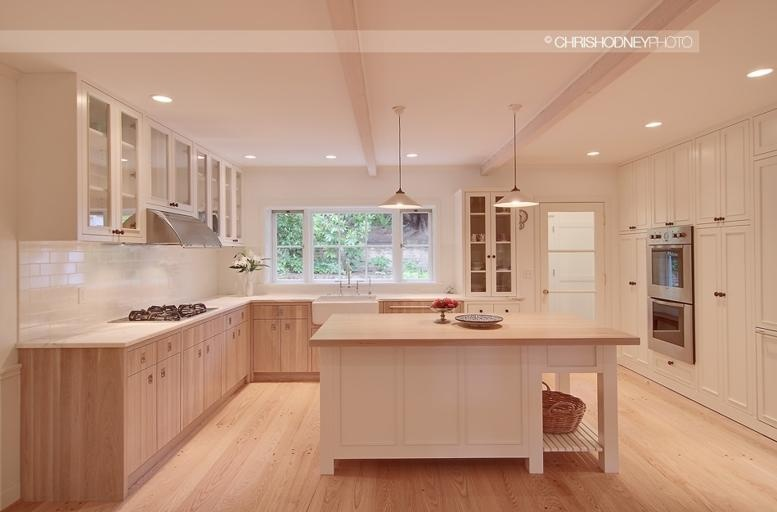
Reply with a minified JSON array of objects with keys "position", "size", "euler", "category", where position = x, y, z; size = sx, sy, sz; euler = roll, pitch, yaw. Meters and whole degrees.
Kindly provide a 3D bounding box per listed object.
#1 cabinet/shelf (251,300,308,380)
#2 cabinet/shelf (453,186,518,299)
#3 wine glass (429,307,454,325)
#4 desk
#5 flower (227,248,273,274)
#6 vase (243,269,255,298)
[{"position":[-1.256,1.039,6.760],"size":[0.848,0.921,0.591],"euler":[-3,-6,22],"category":"cabinet/shelf"},{"position":[1.271,-0.145,6.602],"size":[0.749,1.255,0.458],"euler":[0,-1,3],"category":"cabinet/shelf"},{"position":[0.522,0.568,5.088],"size":[0.192,0.117,0.173],"euler":[1,-7,-2],"category":"wine glass"},{"position":[0.807,1.426,5.110],"size":[2.669,1.047,1.369],"euler":[-5,-15,14],"category":"desk"},{"position":[-1.868,0.064,6.963],"size":[0.381,0.200,0.389],"euler":[-1,-2,42],"category":"flower"},{"position":[-1.842,0.321,6.966],"size":[0.180,0.357,0.414],"euler":[-6,15,-15],"category":"vase"}]
